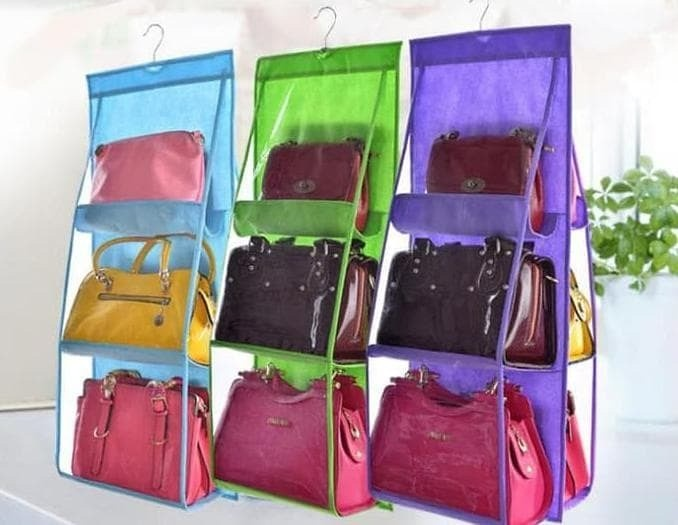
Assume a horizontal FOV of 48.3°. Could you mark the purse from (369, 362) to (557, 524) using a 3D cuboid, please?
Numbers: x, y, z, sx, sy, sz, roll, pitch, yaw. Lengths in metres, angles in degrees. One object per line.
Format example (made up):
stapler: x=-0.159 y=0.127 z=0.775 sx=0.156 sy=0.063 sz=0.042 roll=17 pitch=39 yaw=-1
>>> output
purse: x=0.591 y=0.817 z=3.424 sx=0.748 sy=0.685 sz=0.303 roll=3 pitch=-1 yaw=28

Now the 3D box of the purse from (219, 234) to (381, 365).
purse: x=-0.178 y=0.175 z=3.592 sx=0.534 sy=0.436 sz=0.201 roll=4 pitch=-9 yaw=22

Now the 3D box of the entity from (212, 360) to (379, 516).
entity: x=-0.231 y=0.846 z=3.711 sx=0.784 sy=0.622 sz=0.326 roll=1 pitch=-6 yaw=34

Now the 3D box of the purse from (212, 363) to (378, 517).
purse: x=-0.207 y=0.846 z=3.599 sx=0.740 sy=0.604 sz=0.304 roll=0 pitch=-5 yaw=29
